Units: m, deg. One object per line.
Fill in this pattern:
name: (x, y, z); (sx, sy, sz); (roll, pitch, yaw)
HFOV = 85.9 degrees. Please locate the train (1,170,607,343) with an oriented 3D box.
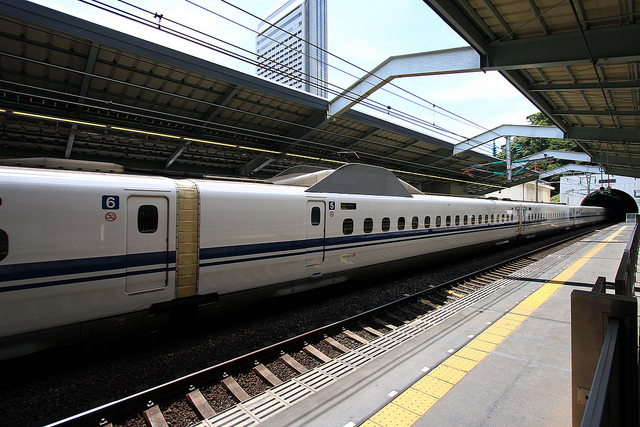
train: (-0.850, 0.502, 8.735); (11.450, 3.633, 1.219); (-10, 14, -31)
